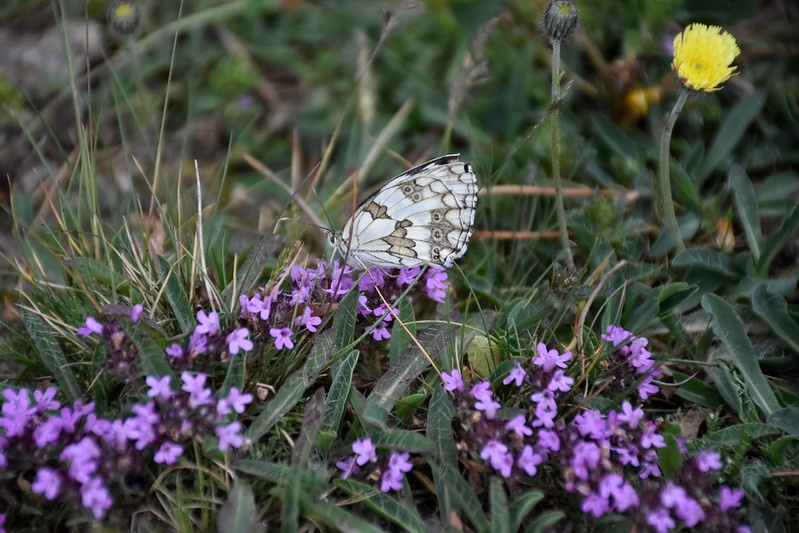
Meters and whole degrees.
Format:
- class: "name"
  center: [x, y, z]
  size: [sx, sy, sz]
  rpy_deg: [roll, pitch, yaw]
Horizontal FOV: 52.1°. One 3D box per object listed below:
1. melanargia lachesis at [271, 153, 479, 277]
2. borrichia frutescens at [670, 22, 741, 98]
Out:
- class: "melanargia lachesis"
  center: [-0.029, -0.287, 4.977]
  size: [0.675, 0.927, 0.764]
  rpy_deg: [-3, 11, -36]
- class: "borrichia frutescens"
  center: [1.694, -1.128, 4.563]
  size: [0.351, 0.156, 0.387]
  rpy_deg: [30, 91, 3]
